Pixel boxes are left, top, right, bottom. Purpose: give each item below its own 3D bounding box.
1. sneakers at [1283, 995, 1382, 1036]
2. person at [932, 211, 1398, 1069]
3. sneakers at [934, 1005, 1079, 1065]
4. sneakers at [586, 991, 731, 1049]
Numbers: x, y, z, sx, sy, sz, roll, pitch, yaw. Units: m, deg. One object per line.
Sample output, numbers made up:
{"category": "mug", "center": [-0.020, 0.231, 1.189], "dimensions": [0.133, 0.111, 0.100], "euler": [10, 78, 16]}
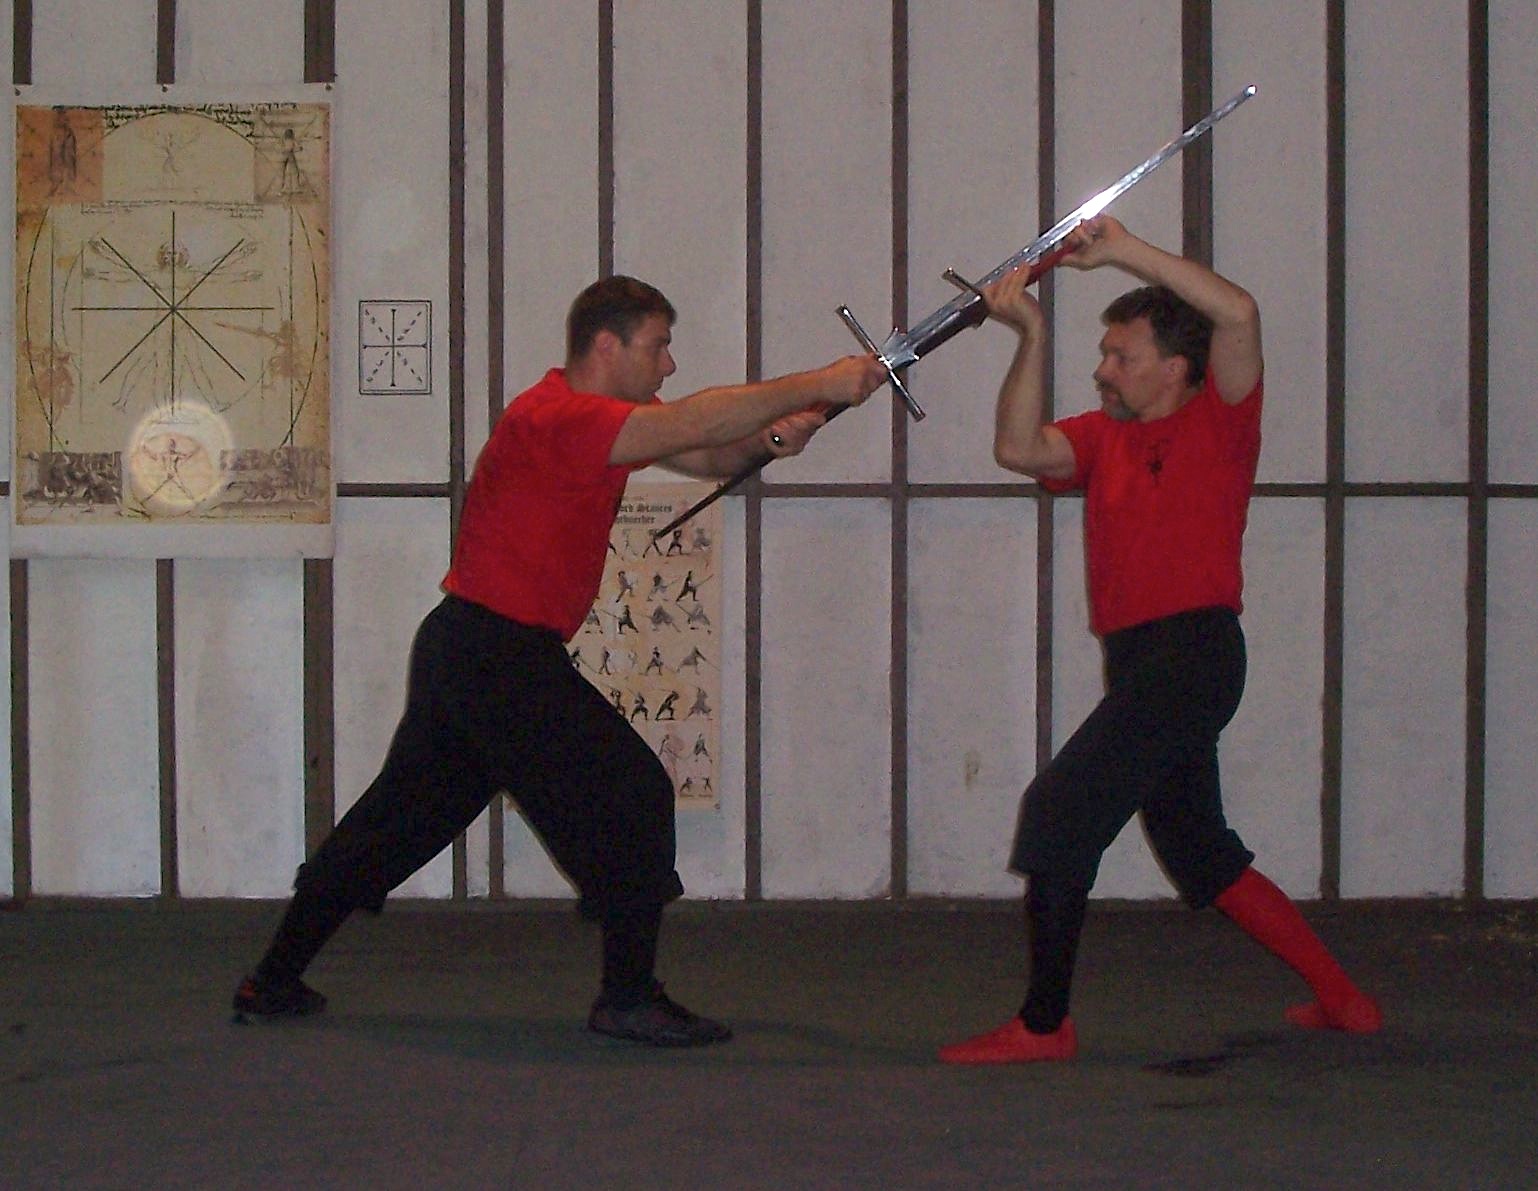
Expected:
{"category": "sneakers", "center": [1.865, 1.401, 8.442], "dimensions": [0.304, 0.146, 0.120], "euler": [5, 21, 22]}
{"category": "person", "center": [1.243, 0.173, 8.296], "dimensions": [1.245, 2.562, 0.667], "euler": [5, 2, 11]}
{"category": "sneakers", "center": [0.764, 1.433, 8.234], "dimensions": [0.461, 0.194, 0.168], "euler": [1, -9, 1]}
{"category": "sneakers", "center": [-0.367, 1.395, 8.357], "dimensions": [0.457, 0.219, 0.182], "euler": [4, -6, -9]}
